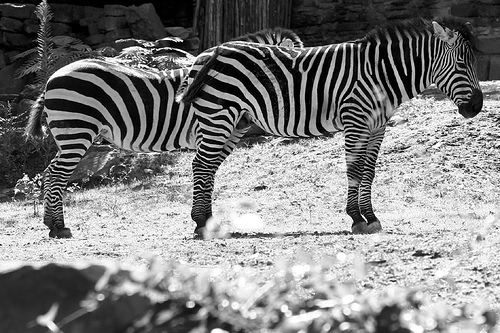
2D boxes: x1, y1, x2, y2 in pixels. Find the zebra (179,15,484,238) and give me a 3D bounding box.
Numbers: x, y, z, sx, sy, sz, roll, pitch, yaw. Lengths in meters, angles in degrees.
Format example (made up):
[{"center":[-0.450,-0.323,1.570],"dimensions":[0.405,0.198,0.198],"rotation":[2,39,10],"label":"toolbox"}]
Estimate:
[{"center":[0.891,-0.460,7.502],"dimensions":[3.591,2.232,1.000],"rotation":[-1,2,-3],"label":"zebra"}]
